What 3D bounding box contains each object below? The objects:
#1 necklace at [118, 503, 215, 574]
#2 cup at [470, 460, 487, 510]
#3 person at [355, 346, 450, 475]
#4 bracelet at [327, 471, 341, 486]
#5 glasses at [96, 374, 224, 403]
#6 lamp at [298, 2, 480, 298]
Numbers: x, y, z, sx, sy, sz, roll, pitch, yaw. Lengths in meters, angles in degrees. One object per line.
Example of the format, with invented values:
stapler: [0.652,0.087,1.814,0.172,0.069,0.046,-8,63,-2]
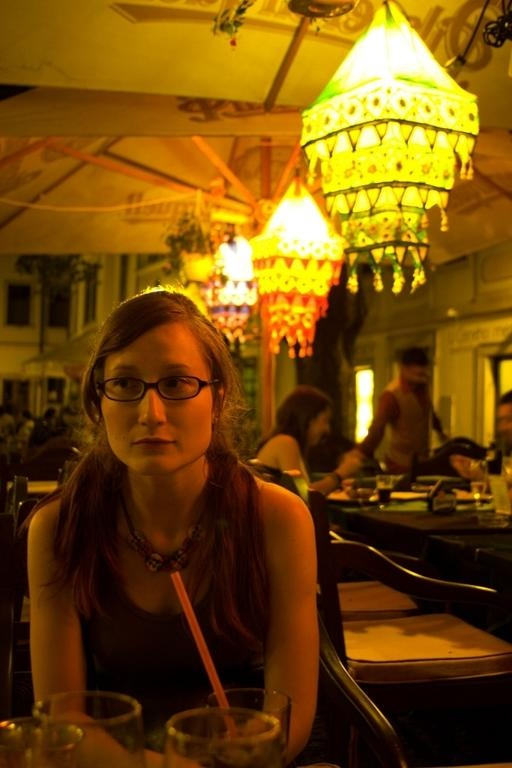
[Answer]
necklace: [-0.161,0.257,1.210,0.083,0.102,0.054,2,-42,-7]
cup: [1.078,0.492,3.504,0.068,0.188,0.134,-8,12,12]
person: [0.774,0.177,3.775,0.419,0.664,0.877,1,-2,3]
bracelet: [0.455,0.554,4.171,0.027,0.079,0.084,2,5,-9]
glasses: [-0.148,0.008,1.099,0.185,0.046,0.105,2,-2,-12]
lamp: [0.475,-0.861,2.587,0.601,0.973,0.576,1,-1,16]
